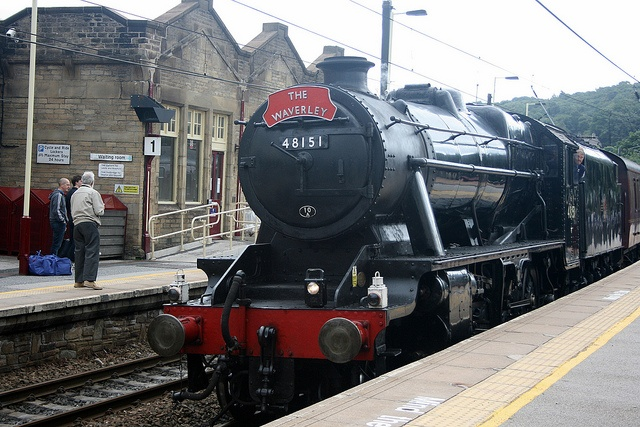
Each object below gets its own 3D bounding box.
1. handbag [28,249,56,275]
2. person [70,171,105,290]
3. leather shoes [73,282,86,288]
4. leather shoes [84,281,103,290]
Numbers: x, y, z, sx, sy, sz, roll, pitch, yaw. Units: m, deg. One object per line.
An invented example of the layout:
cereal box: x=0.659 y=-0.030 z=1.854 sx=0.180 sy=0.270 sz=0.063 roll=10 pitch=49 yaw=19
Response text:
handbag: x=-6.689 y=1.199 z=13.351 sx=0.486 sy=0.466 sz=0.506 roll=-5 pitch=-9 yaw=37
person: x=-4.705 y=0.346 z=11.305 sx=0.722 sy=2.336 sz=0.466 roll=4 pitch=5 yaw=39
leather shoes: x=-4.903 y=1.449 z=11.404 sx=0.261 sy=0.110 sz=0.100 roll=0 pitch=2 yaw=-32
leather shoes: x=-4.619 y=1.440 z=11.312 sx=0.388 sy=0.160 sz=0.170 roll=7 pitch=3 yaw=-3
